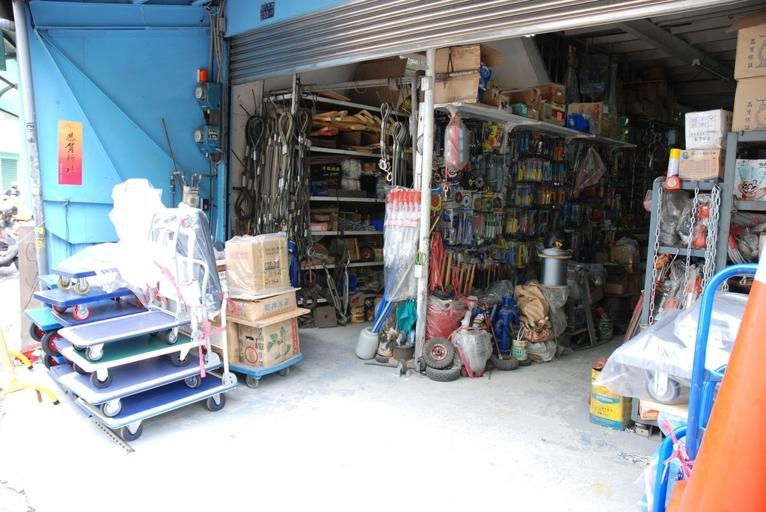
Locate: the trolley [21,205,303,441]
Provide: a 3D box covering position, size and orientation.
[{"bbox_3d":[-2.394,0.481,4.895,1.889,1.911,1.545,6,14,29],"label":"trolley"}]

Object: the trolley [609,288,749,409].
[{"bbox_3d":[2.199,0.753,3.900,0.829,0.887,0.825,8,15,36],"label":"trolley"}]
